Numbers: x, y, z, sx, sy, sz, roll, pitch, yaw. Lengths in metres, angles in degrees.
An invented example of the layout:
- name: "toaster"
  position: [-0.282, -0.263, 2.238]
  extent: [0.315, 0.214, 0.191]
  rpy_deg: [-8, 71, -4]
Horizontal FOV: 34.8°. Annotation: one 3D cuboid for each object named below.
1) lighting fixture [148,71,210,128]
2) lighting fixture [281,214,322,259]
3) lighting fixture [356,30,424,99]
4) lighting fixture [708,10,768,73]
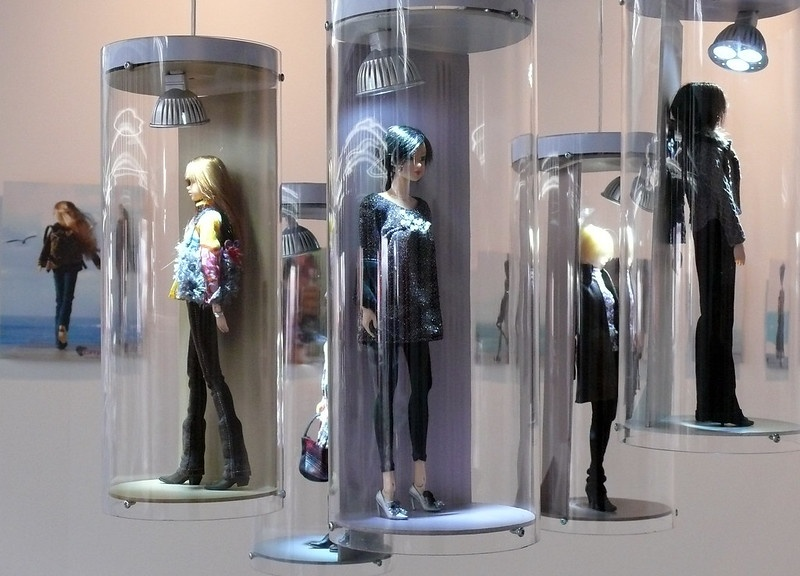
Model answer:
- name: "lighting fixture"
  position: [-0.991, -0.840, 5.712]
  extent: [0.252, 0.268, 0.260]
  rpy_deg: [-6, 1, -26]
- name: "lighting fixture"
  position: [-0.528, -0.276, 6.630]
  extent: [0.193, 0.216, 0.179]
  rpy_deg: [-10, -4, 34]
- name: "lighting fixture"
  position: [-0.070, -0.894, 5.121]
  extent: [0.256, 0.272, 0.252]
  rpy_deg: [-5, -15, -41]
- name: "lighting fixture"
  position: [1.446, -1.067, 5.368]
  extent: [0.225, 0.251, 0.218]
  rpy_deg: [21, -6, -6]
